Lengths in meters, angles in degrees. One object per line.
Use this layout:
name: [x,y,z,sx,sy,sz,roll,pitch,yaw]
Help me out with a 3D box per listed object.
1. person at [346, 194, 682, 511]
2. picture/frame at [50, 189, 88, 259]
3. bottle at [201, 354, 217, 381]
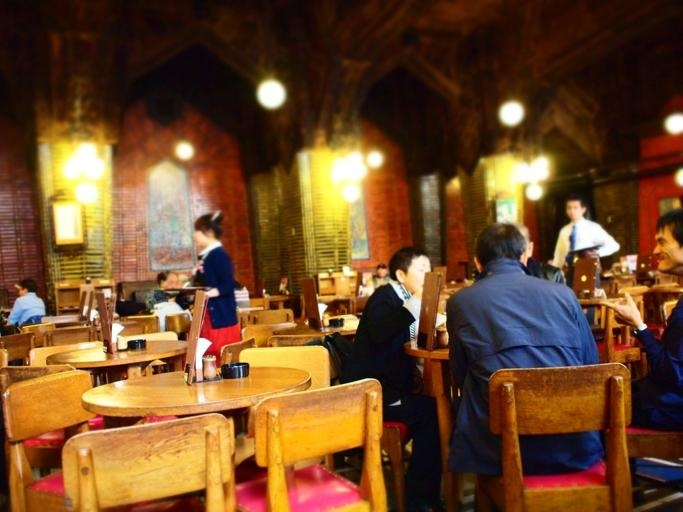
person: [1.074,0.444,2.786,1.180,1.317,0.548,-4,0,-8]
picture/frame: [-5.152,-0.566,10.420,0.517,0.909,0.514,-7,-14,-17]
bottle: [-0.721,0.613,3.003,0.077,0.135,0.095,-4,-1,-15]
